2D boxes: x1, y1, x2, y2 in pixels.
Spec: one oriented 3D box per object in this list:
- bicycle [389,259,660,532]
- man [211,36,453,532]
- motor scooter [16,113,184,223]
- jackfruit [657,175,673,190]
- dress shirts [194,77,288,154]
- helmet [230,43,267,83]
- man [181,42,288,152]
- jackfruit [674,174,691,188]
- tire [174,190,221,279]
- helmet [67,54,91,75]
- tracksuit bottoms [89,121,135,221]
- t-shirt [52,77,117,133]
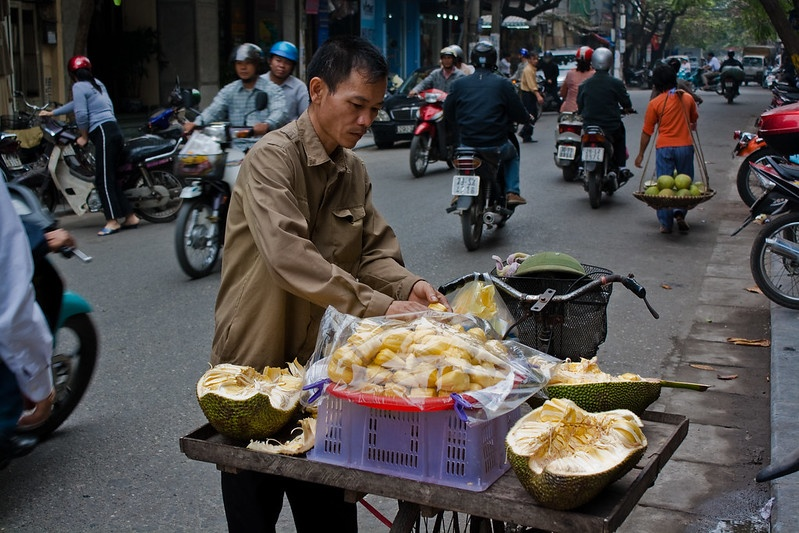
[{"bbox_3d":[0.570,0.516,2.573,1.030,0.987,1.559,-1,1,29],"label":"bicycle"},{"bbox_3d":[-0.287,0.142,2.233,0.839,1.853,0.633,-8,17,-19],"label":"man"},{"bbox_3d":[-4.386,-1.356,8.940,2.466,1.512,1.066,-6,12,-17],"label":"motor scooter"},{"bbox_3d":[3.551,-1.119,8.275,0.205,0.166,0.195,2,17,12],"label":"jackfruit"},{"bbox_3d":[-1.664,-1.802,7.799,1.468,0.974,0.918,-9,12,-43],"label":"dress shirts"},{"bbox_3d":[-1.838,-2.512,7.604,0.414,0.540,0.535,0,12,0],"label":"helmet"},{"bbox_3d":[-1.919,-2.150,7.575,1.673,0.970,1.048,-6,7,-39],"label":"man"},{"bbox_3d":[3.741,-1.120,8.205,0.203,0.200,0.188,0,2,10],"label":"jackfruit"},{"bbox_3d":[-2.252,-0.350,6.889,0.273,0.822,0.763,0,25,22],"label":"tire"},{"bbox_3d":[-4.521,-2.846,8.686,0.299,0.303,0.375,-5,19,-19],"label":"helmet"},{"bbox_3d":[-4.065,-1.343,8.683,0.465,1.353,0.402,-12,19,-30],"label":"tracksuit bottoms"},{"bbox_3d":[-4.283,-2.237,8.604,0.471,0.703,0.357,-10,18,-26],"label":"t-shirt"}]
